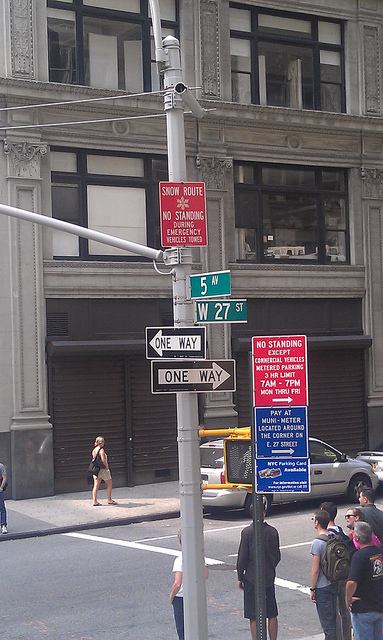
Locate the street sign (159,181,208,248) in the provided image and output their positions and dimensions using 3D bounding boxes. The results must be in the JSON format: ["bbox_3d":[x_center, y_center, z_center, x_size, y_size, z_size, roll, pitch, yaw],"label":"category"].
[{"bbox_3d":[-0.142,-1.500,22.492,0.660,1.039,0.016,0,-24,-5],"label":"street sign"}]

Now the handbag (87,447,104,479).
[{"bbox_3d":[-2.009,2.901,32.686,0.288,0.564,0.305,-3,1,-4],"label":"handbag"}]
